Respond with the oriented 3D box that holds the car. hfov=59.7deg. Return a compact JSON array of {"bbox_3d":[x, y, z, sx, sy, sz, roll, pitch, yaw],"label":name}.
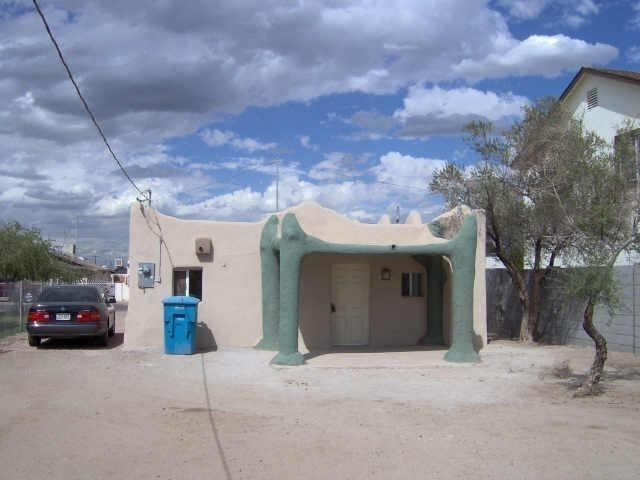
[{"bbox_3d":[-7.004,2.174,15.702,1.964,1.696,2.308,0,1,-14],"label":"car"}]
